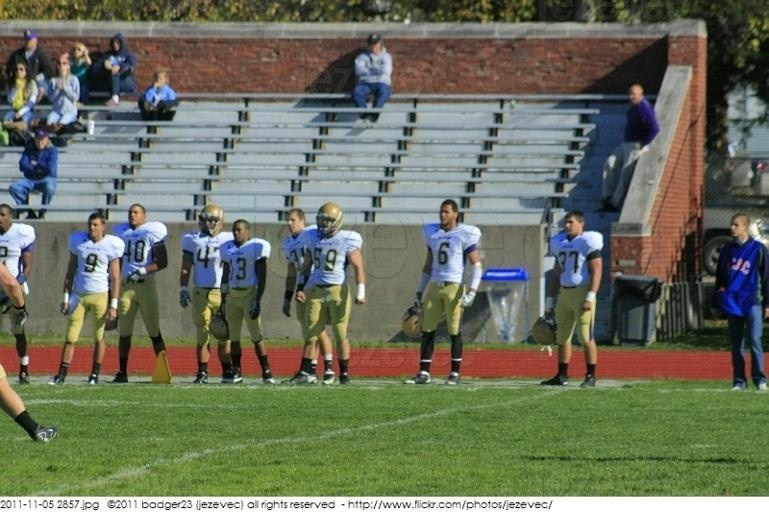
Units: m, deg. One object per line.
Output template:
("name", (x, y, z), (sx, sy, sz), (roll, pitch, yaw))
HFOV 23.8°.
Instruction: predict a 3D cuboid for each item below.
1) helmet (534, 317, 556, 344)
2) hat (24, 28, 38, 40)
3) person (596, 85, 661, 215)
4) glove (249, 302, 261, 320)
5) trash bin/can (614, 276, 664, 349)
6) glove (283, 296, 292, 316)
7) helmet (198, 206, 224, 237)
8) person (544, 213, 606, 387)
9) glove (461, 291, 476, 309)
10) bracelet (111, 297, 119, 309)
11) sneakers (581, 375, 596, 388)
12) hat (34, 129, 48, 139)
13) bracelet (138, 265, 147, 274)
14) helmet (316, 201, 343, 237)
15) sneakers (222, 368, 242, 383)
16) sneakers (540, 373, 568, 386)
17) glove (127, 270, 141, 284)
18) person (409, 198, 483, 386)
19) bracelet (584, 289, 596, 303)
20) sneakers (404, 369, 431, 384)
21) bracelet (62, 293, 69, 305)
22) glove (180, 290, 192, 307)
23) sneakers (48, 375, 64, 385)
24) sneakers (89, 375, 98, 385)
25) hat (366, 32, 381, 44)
("helmet", (2.758, 1.290, 31.288), (0.457, 0.535, 0.301), (2, -7, 5))
("hat", (-7.366, -4.600, 38.053), (0.279, 0.295, 0.381), (5, 18, -13))
("person", (4.871, -2.090, 35.969), (0.763, 2.385, 1.224), (1, -2, -30))
("glove", (-2.200, 0.935, 31.206), (0.188, 0.237, 0.257), (4, 7, -6))
("trash bin/can", (4.793, 1.041, 34.719), (0.927, 1.349, 0.390), (0, -2, 14))
("glove", (-1.663, 0.867, 31.338), (0.148, 0.320, 0.337), (5, -3, 4))
("helmet", (-2.929, -0.615, 31.611), (0.416, 0.497, 0.506), (1, 0, 9))
("person", (3.250, 0.756, 31.147), (0.950, 2.982, 0.458), (0, -2, 21))
("glove", (1.441, 0.764, 31.041), (0.171, 0.234, 0.320), (16, -38, -27))
("bracelet", (-4.581, 0.820, 31.077), (0.154, 0.148, 0.133), (12, -16, -33))
("sneakers", (3.493, 2.165, 31.176), (0.130, 0.134, 0.355), (-2, -5, 27))
("hat", (-6.774, -2.390, 36.092), (0.224, 0.110, 0.218), (-2, 23, -9))
("bracelet", (-4.118, 0.247, 31.140), (0.104, 0.088, 0.115), (-7, -6, 8))
("helmet", (-0.974, -0.615, 31.058), (0.429, 0.537, 0.551), (1, -1, 29))
("sneakers", (-2.612, 2.087, 31.488), (0.344, 0.192, 0.197), (2, -3, 23))
("sneakers", (2.919, 2.154, 31.324), (0.473, 0.194, 0.170), (2, -3, 6))
("glove", (-4.245, 0.356, 31.196), (0.239, 0.206, 0.102), (0, -1, -13))
("person", (1.052, 0.627, 31.125), (1.137, 3.139, 0.515), (0, -2, 23))
("bracelet", (3.483, 0.699, 30.953), (0.184, 0.183, 0.181), (4, 3, 9))
("sneakers", (0.601, 2.088, 31.165), (0.514, 0.217, 0.182), (1, 0, -2))
("bracelet", (-5.424, 0.728, 31.160), (0.145, 0.217, 0.149), (-3, -5, 38))
("glove", (-3.438, 0.719, 31.481), (0.227, 0.354, 0.097), (-2, -13, -5))
("sneakers", (-5.538, 2.130, 31.001), (0.293, 0.119, 0.108), (2, -5, 26))
("sneakers", (-4.960, 2.135, 31.224), (0.185, 0.133, 0.245), (-1, -8, 0))
("hat", (-0.205, -4.554, 38.120), (0.344, 0.145, 0.505), (1, 9, -1))
